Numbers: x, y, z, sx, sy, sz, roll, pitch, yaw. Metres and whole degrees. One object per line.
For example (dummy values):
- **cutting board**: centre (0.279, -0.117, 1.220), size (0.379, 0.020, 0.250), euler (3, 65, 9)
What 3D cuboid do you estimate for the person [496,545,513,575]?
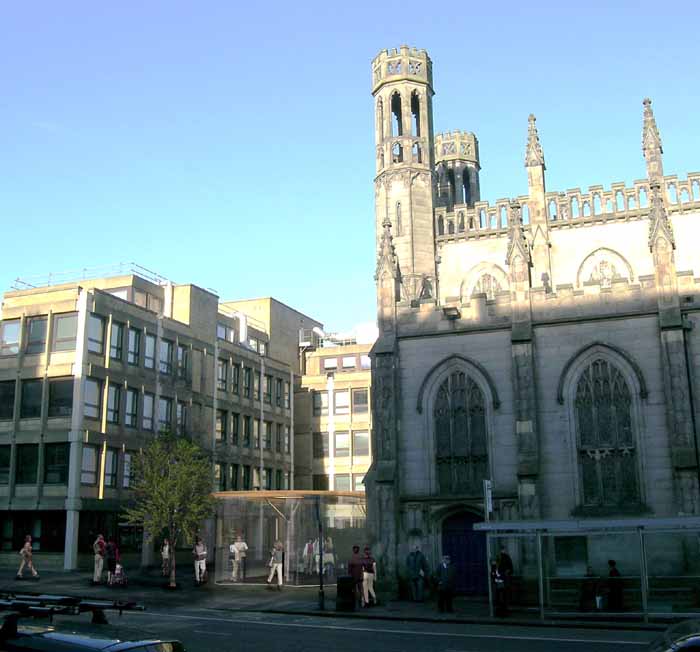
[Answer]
- **person**: centre (4.446, 7.015, 24.392), size (0.266, 0.920, 0.631), euler (-24, -28, 30)

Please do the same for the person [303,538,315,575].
- **person**: centre (-1.814, 10.062, 35.510), size (0.434, 1.405, 0.611), euler (-5, -15, 9)

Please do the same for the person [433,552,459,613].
- **person**: centre (2.763, 7.524, 23.840), size (0.510, 1.541, 1.066), euler (-4, -15, 4)

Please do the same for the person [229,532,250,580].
- **person**: centre (-4.572, 9.616, 33.262), size (0.655, 1.517, 0.924), euler (0, -16, -12)

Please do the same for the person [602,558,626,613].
- **person**: centre (7.263, 7.275, 22.512), size (0.541, 1.080, 0.415), euler (-5, -15, 5)

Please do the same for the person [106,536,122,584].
- **person**: centre (-9.218, 9.240, 31.921), size (0.565, 1.627, 1.864), euler (1, -16, -16)

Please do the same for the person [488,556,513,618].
- **person**: centre (4.345, 7.403, 23.432), size (0.627, 1.645, 2.026), euler (-5, -16, 8)
